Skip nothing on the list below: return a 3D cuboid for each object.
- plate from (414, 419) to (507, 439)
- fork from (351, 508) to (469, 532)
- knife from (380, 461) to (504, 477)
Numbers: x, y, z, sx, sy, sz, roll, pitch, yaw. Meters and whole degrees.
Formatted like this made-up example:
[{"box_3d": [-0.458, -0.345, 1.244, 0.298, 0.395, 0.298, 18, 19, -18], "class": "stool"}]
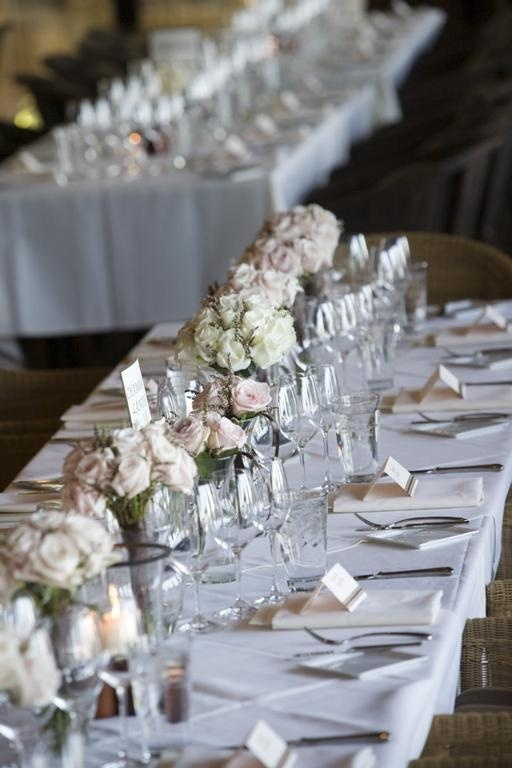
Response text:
[{"box_3d": [0.463, 0.101, 1.586, 0.216, 0.021, 0.110, -3, 10, 10], "class": "plate"}, {"box_3d": [0.258, 0.222, 1.140, 0.174, 0.030, 0.021, -5, 6, 14], "class": "fork"}, {"box_3d": [0.361, 0.162, 1.328, 0.219, 0.017, 0.021, -5, 56, 3], "class": "knife"}]
